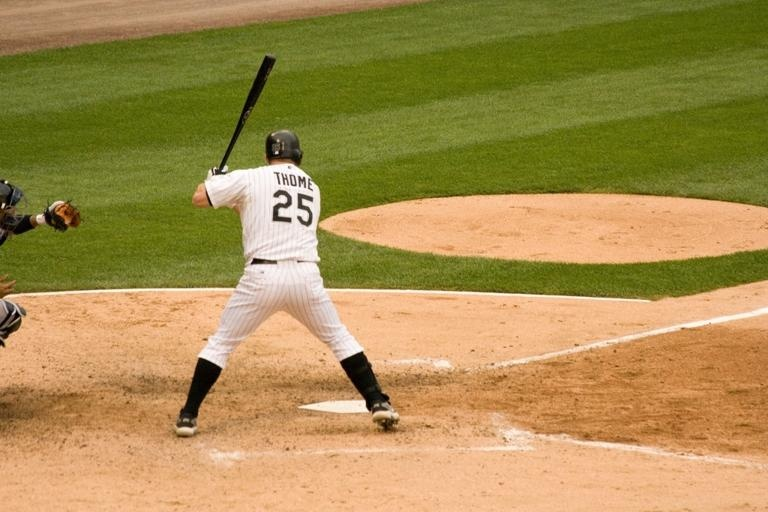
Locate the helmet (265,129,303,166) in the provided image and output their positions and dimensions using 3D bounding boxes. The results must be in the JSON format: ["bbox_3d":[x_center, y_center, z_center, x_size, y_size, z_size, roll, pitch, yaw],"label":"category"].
[{"bbox_3d":[-1.468,-1.642,18.992,0.472,0.409,0.575,1,8,-8],"label":"helmet"}]

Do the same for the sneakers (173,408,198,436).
[{"bbox_3d":[-2.805,2.392,18.309,0.231,0.183,0.447,0,10,-12],"label":"sneakers"}]

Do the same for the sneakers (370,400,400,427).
[{"bbox_3d":[0.018,2.279,18.464,0.255,0.218,0.534,-6,-16,16],"label":"sneakers"}]

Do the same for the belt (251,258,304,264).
[{"bbox_3d":[-1.532,0.068,18.447,0.708,0.098,0.073,2,17,-1],"label":"belt"}]

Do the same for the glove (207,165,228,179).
[{"bbox_3d":[-2.414,-1.232,18.741,0.280,0.122,0.349,-4,3,-2],"label":"glove"}]
